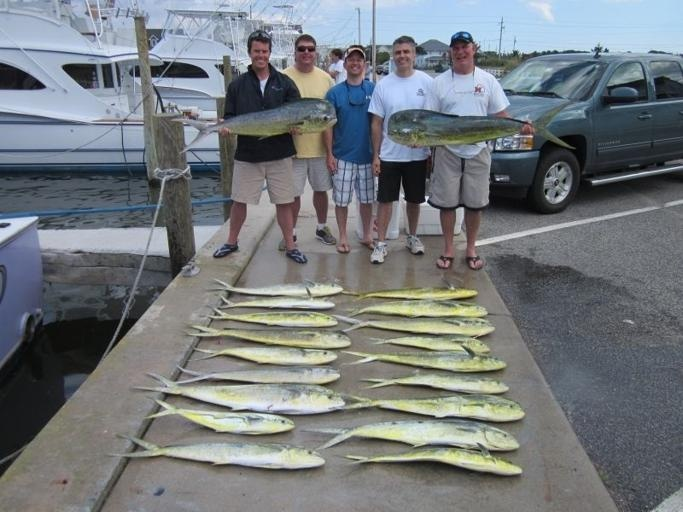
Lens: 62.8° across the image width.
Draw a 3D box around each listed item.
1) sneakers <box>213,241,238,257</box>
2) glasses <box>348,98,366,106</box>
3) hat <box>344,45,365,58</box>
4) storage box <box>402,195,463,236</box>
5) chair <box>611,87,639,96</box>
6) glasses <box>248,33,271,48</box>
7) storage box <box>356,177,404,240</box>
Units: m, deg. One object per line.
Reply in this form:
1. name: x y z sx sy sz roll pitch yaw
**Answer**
1. sneakers: -1.216 -0.069 5.925 0.270 0.093 0.110 -13 23 -38
2. glasses: 0.154 -1.586 5.806 0.153 0.055 0.027 -2 19 -2
3. hat: 0.131 -2.040 5.573 0.198 0.123 0.355 -1 17 1
4. storage box: 1.029 -0.458 6.864 0.780 0.363 0.716 0 6 -3
5. chair: 3.870 -2.247 7.691 0.330 0.127 0.187 4 19 17
6. glasses: -0.799 -2.119 5.425 0.162 0.137 0.193 0 -2 -6
7. storage box: 0.469 -0.524 6.926 0.720 1.037 0.650 -2 29 2
